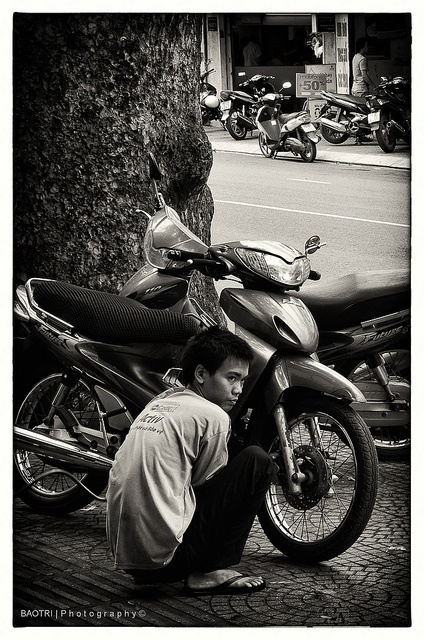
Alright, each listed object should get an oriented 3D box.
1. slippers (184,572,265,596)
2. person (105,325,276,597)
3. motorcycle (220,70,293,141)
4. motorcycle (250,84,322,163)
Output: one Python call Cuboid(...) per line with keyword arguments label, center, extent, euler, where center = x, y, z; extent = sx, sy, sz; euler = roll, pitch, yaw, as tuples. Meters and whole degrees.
Cuboid(label="slippers", center=(0.046, 0.972, 2.521), extent=(0.294, 0.112, 0.114), euler=(0, 3, -8))
Cuboid(label="person", center=(-0.057, 0.543, 2.323), extent=(0.590, 1.017, 0.309), euler=(-3, 5, -25))
Cuboid(label="motorcycle", center=(0.258, -1.347, 4.205), extent=(0.457, 0.319, 0.258), euler=(-25, 24, -37))
Cuboid(label="motorcycle", center=(0.468, -1.193, 4.167), extent=(0.270, 0.415, 0.518), euler=(-18, 29, -30))
